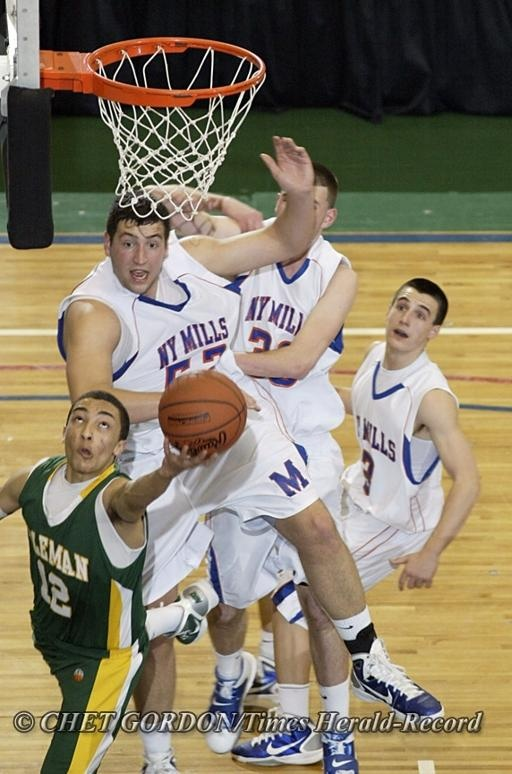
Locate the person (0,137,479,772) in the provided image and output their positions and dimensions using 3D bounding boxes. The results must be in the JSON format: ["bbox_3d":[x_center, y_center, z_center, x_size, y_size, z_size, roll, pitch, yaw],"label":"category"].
[{"bbox_3d":[-0.150,0.120,2.455,0.866,1.736,0.870,-1,16,-20],"label":"person"}]

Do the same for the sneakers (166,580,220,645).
[{"bbox_3d":[-0.190,0.712,2.483,0.101,0.238,0.090,-33,70,-35],"label":"sneakers"}]

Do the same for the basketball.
[{"bbox_3d":[-0.141,0.076,1.938,0.209,0.216,0.192,-4,23,6],"label":"basketball"}]
